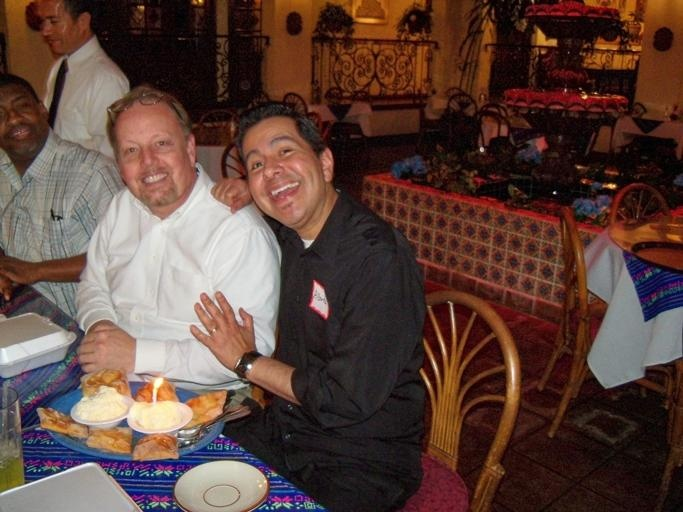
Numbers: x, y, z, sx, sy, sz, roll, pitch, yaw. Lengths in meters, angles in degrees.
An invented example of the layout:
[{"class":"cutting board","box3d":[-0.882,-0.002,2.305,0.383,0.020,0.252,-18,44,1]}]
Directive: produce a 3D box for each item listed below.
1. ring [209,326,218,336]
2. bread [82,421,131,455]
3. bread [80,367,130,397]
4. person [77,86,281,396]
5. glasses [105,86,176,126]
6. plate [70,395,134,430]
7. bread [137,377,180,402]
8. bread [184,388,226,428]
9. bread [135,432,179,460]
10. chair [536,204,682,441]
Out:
[{"class":"ring","box3d":[-0.394,0.229,1.557,0.019,0.007,0.021,-6,53,8]},{"class":"bread","box3d":[-0.548,0.426,1.212,0.064,0.022,0.069,9,9,-33]},{"class":"bread","box3d":[-0.648,0.342,1.406,0.078,0.030,0.093,1,21,-11]},{"class":"person","box3d":[-0.686,-0.074,1.955,0.823,1.039,0.634,7,15,15]},{"class":"glasses","box3d":[-0.774,-0.564,1.965,0.178,0.077,0.187,-27,5,25]},{"class":"plate","box3d":[-0.615,0.396,1.291,0.085,0.030,0.089,10,19,7]},{"class":"bread","box3d":[-0.490,0.358,1.342,0.073,0.028,0.083,24,24,-4]},{"class":"bread","box3d":[-0.352,0.391,1.327,0.090,0.019,0.061,-27,29,-25]},{"class":"bread","box3d":[-0.435,0.441,1.190,0.064,0.021,0.066,1,3,-7]},{"class":"chair","box3d":[1.552,0.416,2.938,0.769,1.368,0.730,-1,35,8]}]
